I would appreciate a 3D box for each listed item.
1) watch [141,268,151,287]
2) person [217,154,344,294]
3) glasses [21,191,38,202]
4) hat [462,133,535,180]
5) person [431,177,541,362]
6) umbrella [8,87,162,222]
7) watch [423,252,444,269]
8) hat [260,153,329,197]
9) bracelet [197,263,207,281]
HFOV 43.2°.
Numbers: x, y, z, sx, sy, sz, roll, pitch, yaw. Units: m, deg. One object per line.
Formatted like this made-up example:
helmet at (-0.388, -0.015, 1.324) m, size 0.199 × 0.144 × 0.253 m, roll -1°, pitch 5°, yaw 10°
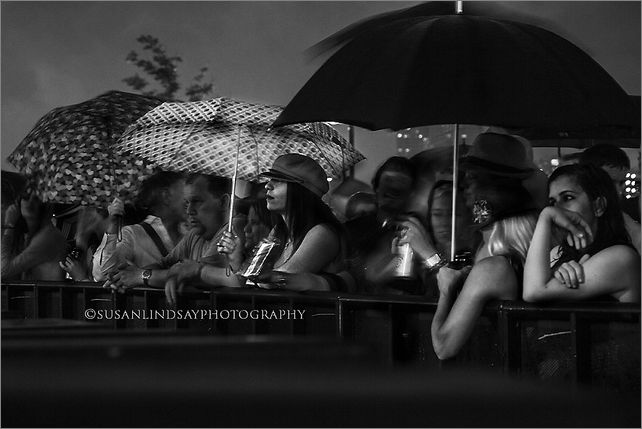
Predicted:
watch at (-1.154, 0.421, 5.400) m, size 0.060 × 0.100 × 0.098 m, roll 14°, pitch -38°, yaw 11°
person at (-0.160, 0.216, 5.342) m, size 0.778 × 1.101 × 0.792 m, roll 11°, pitch -29°, yaw -14°
glasses at (-2.451, -0.139, 6.800) m, size 0.101 × 0.096 × 0.028 m, roll 4°, pitch -51°, yaw -9°
hat at (1.011, -0.283, 4.599) m, size 0.339 × 0.130 × 0.286 m, roll 8°, pitch 12°, yaw -12°
person at (0.833, 0.254, 4.068) m, size 0.473 × 0.886 × 0.761 m, roll 2°, pitch -1°, yaw 18°
umbrella at (-2.011, -0.439, 6.587) m, size 0.999 × 1.011 × 0.347 m, roll 10°, pitch -51°, yaw 7°
watch at (0.575, 0.242, 4.206) m, size 0.091 × 0.061 × 0.093 m, roll -8°, pitch -18°, yaw -35°
hat at (-0.165, -0.233, 5.318) m, size 0.364 × 0.168 × 0.276 m, roll 23°, pitch -4°, yaw -20°
bracelet at (-0.771, 0.369, 5.257) m, size 0.031 × 0.083 × 0.061 m, roll 5°, pitch 1°, yaw 1°
